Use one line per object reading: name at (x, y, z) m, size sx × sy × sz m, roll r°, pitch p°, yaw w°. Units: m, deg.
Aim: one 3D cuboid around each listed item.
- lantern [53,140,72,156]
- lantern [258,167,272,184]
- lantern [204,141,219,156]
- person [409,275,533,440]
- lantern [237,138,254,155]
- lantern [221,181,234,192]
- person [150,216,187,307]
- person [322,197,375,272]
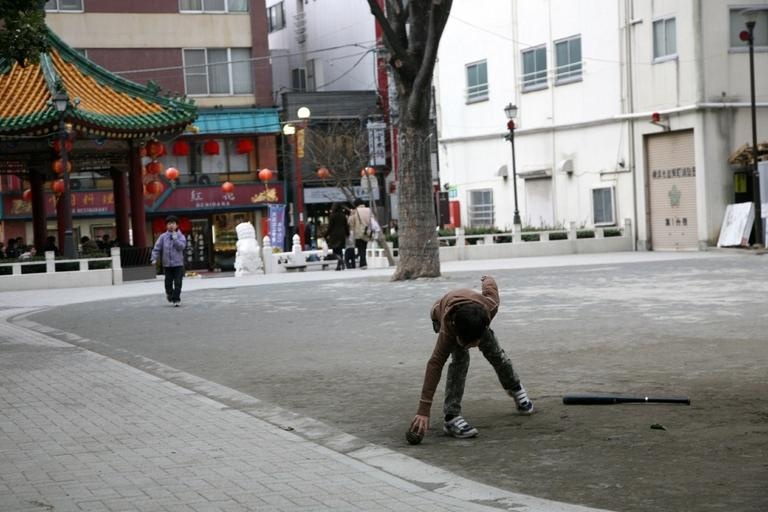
lantern at (-9.515, -3.270, 29.980) m, size 0.473 × 0.443 × 0.483 m, roll -6°, pitch 2°, yaw 13°
lantern at (-5.189, -3.537, 44.080) m, size 0.688 × 0.748 × 0.656 m, roll -6°, pitch 13°, yaw -35°
lantern at (-7.443, -4.604, 43.859) m, size 0.776 × 0.745 × 0.751 m, roll 1°, pitch 20°, yaw -15°
person at (1.063, 1.252, 12.686) m, size 1.506 × 1.976 × 0.926 m, roll -1°, pitch 1°, yaw -31°
lantern at (-6.224, -4.971, 45.437) m, size 0.724 × 0.950 × 0.729 m, roll 0°, pitch 6°, yaw 33°
lantern at (-6.961, -3.125, 44.895) m, size 0.431 × 0.402 × 0.426 m, roll 1°, pitch -5°, yaw 1°
person at (-4.893, 0.061, 23.286) m, size 0.661 × 1.986 × 0.978 m, roll -1°, pitch 1°, yaw -17°
person at (-1.133, -0.862, 33.508) m, size 1.117 × 2.682 × 0.885 m, roll 0°, pitch 1°, yaw 40°
